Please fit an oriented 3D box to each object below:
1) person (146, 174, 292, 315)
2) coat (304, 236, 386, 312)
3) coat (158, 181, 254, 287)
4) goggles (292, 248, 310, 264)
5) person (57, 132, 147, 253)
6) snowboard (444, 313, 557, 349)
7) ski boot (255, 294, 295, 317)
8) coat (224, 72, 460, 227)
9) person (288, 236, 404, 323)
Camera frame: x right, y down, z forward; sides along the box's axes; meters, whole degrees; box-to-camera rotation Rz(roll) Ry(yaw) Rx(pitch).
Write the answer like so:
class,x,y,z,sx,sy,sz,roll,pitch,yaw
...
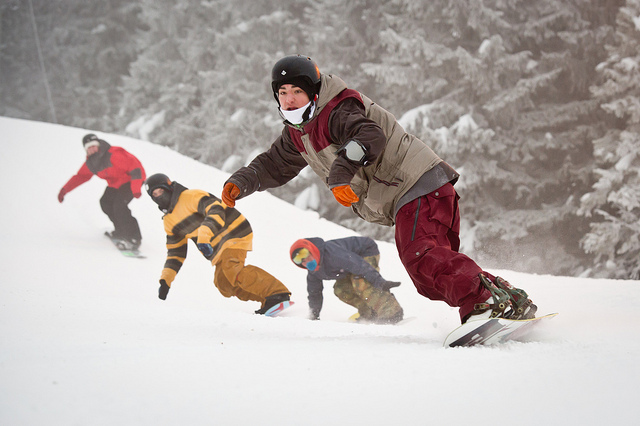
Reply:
class,x,y,z,sx,sy,sz,roll,pitch,yaw
person,-1.211,0.363,8.938,1.341,1.026,1.858,-12,77,-19
coat,0.329,0.606,9.099,0.912,0.722,0.804,-2,63,-46
coat,-1.393,0.278,9.055,0.985,1.135,1.129,-27,64,18
goggles,-0.199,0.494,8.812,0.123,0.200,0.058,41,31,6
person,-2.636,-0.178,9.298,0.872,0.715,1.249,14,47,-36
snowboard,1.664,1.111,7.234,0.975,0.212,0.216,-3,60,-2
ski boot,-0.478,1.038,8.719,0.443,0.171,0.188,-27,52,-2
coat,0.311,-0.532,7.532,2.033,0.926,0.994,12,61,7
person,0.310,0.789,8.987,1.442,0.732,1.083,5,73,-28
